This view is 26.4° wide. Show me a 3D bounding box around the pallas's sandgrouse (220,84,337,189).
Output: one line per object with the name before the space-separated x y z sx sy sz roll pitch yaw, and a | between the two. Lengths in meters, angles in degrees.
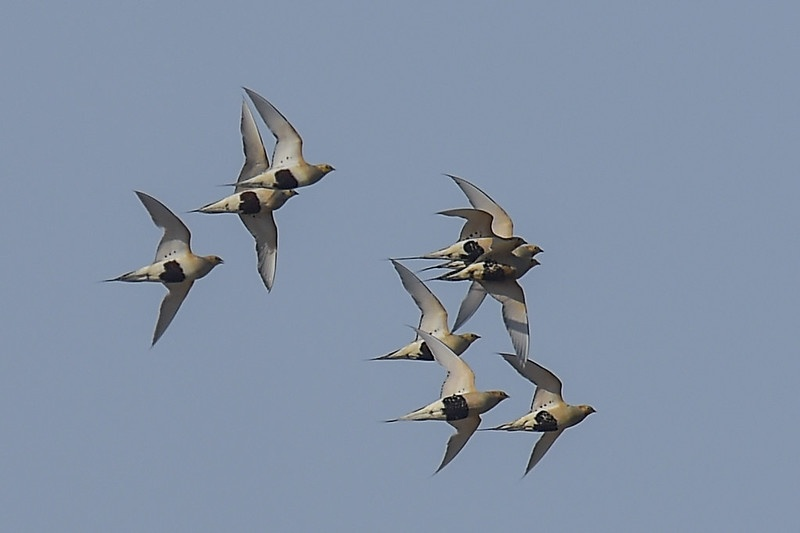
pallas's sandgrouse | -2.885 -2.114 37.916 2.623 0.849 4.287 -6 -39 -12
